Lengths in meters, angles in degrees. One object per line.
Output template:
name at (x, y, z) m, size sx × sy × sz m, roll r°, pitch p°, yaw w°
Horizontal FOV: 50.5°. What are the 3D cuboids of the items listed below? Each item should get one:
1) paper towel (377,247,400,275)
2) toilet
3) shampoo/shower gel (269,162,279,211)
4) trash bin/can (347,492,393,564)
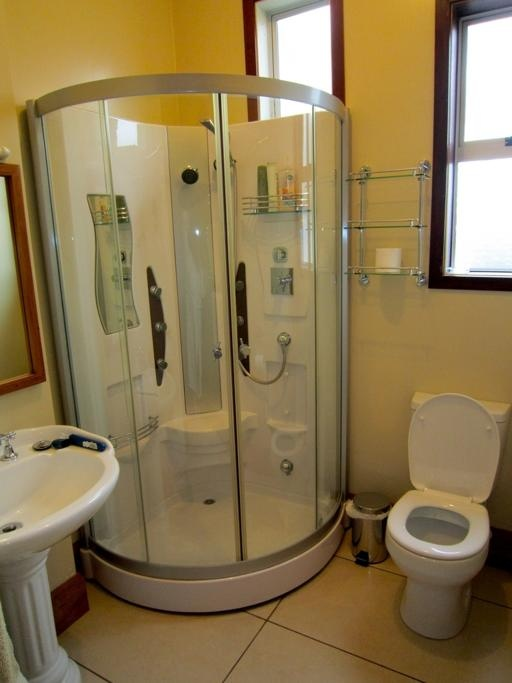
paper towel at (0.581, -0.358, 2.385) m, size 0.116 × 0.106 × 0.119 m, roll 1°, pitch 11°, yaw 14°
toilet at (0.784, 0.697, 2.152) m, size 0.377 × 1.074 × 0.680 m, roll 8°, pitch 22°, yaw 28°
shampoo/shower gel at (0.065, -0.589, 2.062) m, size 0.045 × 0.161 × 0.014 m, roll -8°, pitch 12°, yaw -36°
trash bin/can at (0.536, 0.820, 2.576) m, size 0.202 × 0.342 × 0.266 m, roll 3°, pitch 14°, yaw 30°
